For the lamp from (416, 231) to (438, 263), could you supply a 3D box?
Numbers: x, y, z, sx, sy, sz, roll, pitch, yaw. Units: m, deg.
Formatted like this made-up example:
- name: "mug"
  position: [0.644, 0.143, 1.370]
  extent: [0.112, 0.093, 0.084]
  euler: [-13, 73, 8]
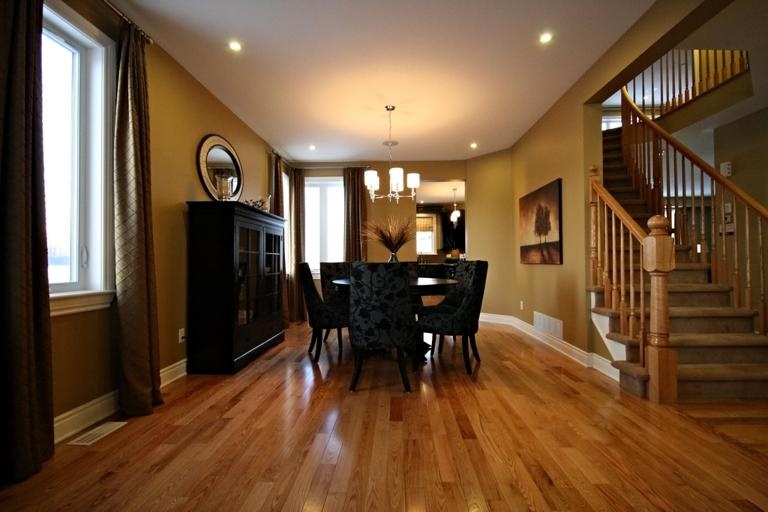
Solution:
- name: "lamp"
  position: [1.181, -0.295, 14.946]
  extent: [0.660, 0.715, 0.309]
  euler: [-2, 1, -32]

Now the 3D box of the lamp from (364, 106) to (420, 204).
- name: "lamp"
  position: [0.093, -1.466, 7.320]
  extent: [0.690, 1.430, 0.767]
  euler: [0, -2, -18]

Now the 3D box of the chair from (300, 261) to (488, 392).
- name: "chair"
  position: [0.283, 0.701, 5.786]
  extent: [1.108, 1.313, 1.658]
  euler: [1, -2, -8]

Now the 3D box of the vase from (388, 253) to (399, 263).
- name: "vase"
  position: [0.096, 0.022, 5.860]
  extent: [0.103, 0.126, 0.104]
  euler: [1, -2, 19]
